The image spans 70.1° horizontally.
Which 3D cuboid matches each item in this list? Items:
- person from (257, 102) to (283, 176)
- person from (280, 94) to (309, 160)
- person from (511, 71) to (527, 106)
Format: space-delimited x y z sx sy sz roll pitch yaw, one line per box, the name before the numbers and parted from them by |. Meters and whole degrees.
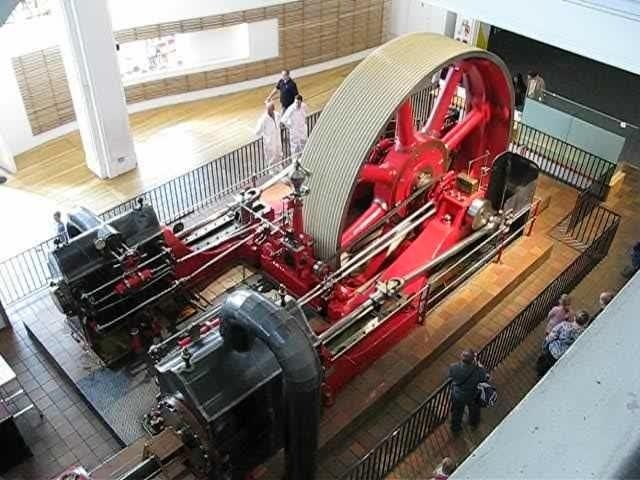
person | -1.184 -2.446 10.934 0.655 1.639 0.884 3 23 -6
person | -0.606 -2.821 11.216 0.626 1.512 0.609 13 24 16
person | 5.421 -4.043 12.344 0.326 0.828 0.723 14 25 18
